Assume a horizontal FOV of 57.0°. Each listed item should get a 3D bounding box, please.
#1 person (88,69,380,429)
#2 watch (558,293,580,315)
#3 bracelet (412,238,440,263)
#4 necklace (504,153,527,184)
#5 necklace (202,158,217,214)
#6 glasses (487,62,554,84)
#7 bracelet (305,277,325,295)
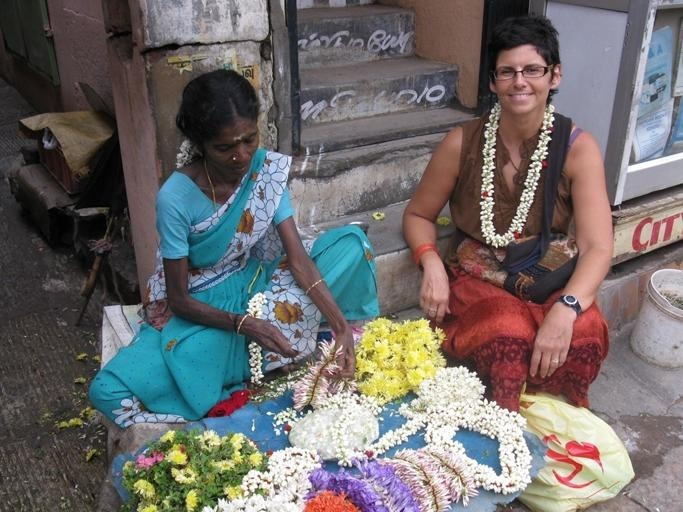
[{"bbox_3d":[-0.568,-0.046,3.251,1.552,1.685,1.127,-14,37,-26],"label":"person"},{"bbox_3d":[1.204,0.247,3.342,0.113,0.115,0.076,29,59,31],"label":"watch"},{"bbox_3d":[0.505,-0.009,3.724,0.086,0.123,0.120,34,36,9],"label":"bracelet"},{"bbox_3d":[0.969,-0.486,3.488,0.113,0.179,0.056,3,9,25],"label":"necklace"},{"bbox_3d":[-0.677,-0.353,3.234,0.033,0.284,0.031,-11,26,-10],"label":"necklace"},{"bbox_3d":[0.944,-0.962,3.304,0.304,0.094,0.097,8,31,17],"label":"glasses"},{"bbox_3d":[-0.142,0.159,3.370,0.083,0.022,0.072,-39,3,8],"label":"bracelet"}]
